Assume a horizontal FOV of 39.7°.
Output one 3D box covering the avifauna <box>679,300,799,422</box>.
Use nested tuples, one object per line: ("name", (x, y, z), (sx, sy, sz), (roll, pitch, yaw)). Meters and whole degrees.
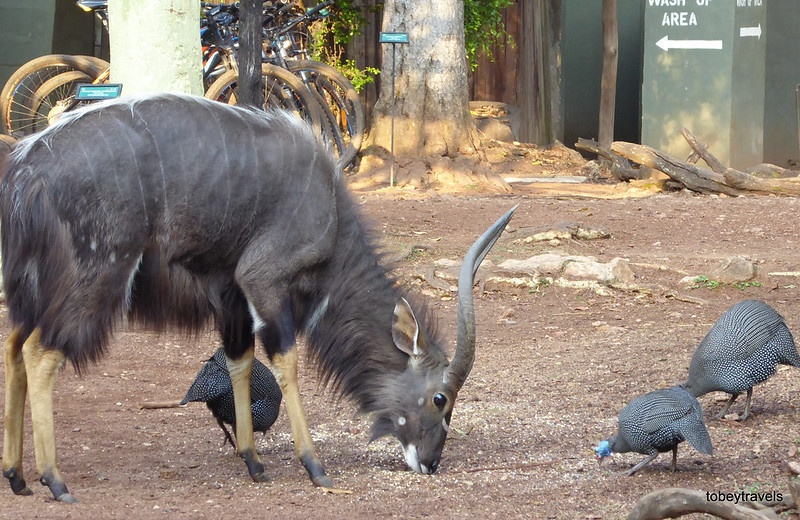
("avifauna", (2.988, 0.762, 9.549), (0.956, 0.770, 0.318), (-4, 11, -17))

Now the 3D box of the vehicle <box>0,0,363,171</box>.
("vehicle", (-3.657, -3.031, 17.137), (5.920, 3.264, 2.869), (5, 8, 5))
